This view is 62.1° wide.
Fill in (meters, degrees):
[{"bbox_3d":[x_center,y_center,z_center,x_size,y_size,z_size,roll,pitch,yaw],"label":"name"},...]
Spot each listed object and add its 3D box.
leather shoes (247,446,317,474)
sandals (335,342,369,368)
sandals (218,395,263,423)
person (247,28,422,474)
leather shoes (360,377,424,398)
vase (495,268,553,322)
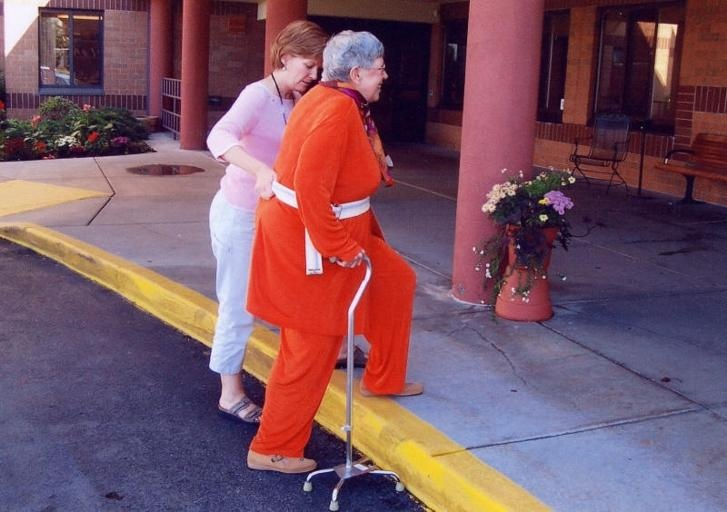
[{"bbox_3d":[-0.443,1.107,3.310,0.401,0.170,0.138,-1,9,-7],"label":"leather shoes"},{"bbox_3d":[-0.068,0.623,3.974,0.301,0.073,0.289,0,20,-2],"label":"sandals"},{"bbox_3d":[-0.740,0.916,3.684,0.242,0.098,0.122,9,13,23],"label":"sandals"},{"bbox_3d":[-0.130,-0.010,3.230,0.828,2.364,0.564,-6,15,-44],"label":"person"},{"bbox_3d":[0.190,0.787,3.714,0.451,0.080,0.130,4,-9,-26],"label":"leather shoes"},{"bbox_3d":[1.305,0.275,4.945,0.399,0.393,0.407,2,8,7],"label":"vase"}]
